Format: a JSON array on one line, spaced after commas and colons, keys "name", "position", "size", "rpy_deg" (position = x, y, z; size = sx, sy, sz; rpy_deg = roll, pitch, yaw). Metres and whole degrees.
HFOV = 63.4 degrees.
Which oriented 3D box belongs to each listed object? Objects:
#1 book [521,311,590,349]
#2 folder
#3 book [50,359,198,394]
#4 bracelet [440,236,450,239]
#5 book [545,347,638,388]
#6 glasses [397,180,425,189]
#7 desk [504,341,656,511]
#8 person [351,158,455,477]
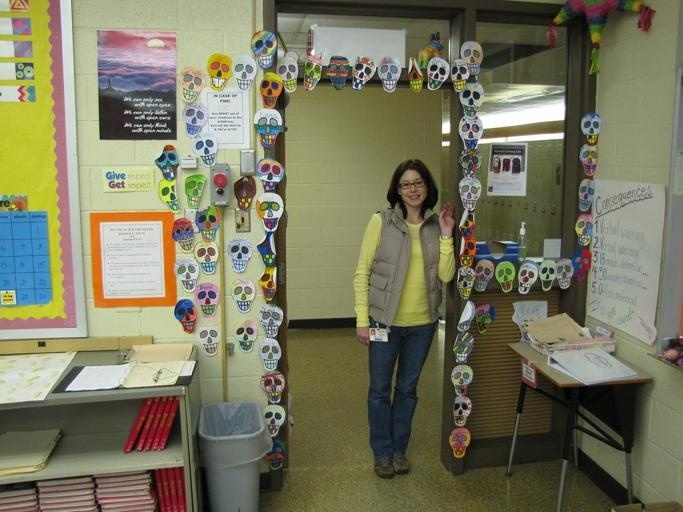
[{"name": "book", "position": [1.265, 0.449, 3.260], "size": [0.221, 0.084, 0.216], "rpy_deg": [-10, 26, -17]}, {"name": "folder", "position": [1.365, 0.596, 2.986], "size": [0.227, 0.063, 0.223], "rpy_deg": [-3, 13, -10]}, {"name": "book", "position": [-1.032, 0.599, 2.731], "size": [0.579, 0.041, 0.256], "rpy_deg": [-4, 13, -12]}, {"name": "bracelet", "position": [0.626, -0.103, 3.280], "size": [0.059, 0.022, 0.027], "rpy_deg": [1, 13, 8]}, {"name": "book", "position": [1.363, 0.597, 3.017], "size": [0.402, 0.076, 0.330], "rpy_deg": [-4, 13, -12]}, {"name": "glasses", "position": [0.431, -0.426, 3.317], "size": [0.143, 0.053, 0.045], "rpy_deg": [0, 12, 4]}, {"name": "desk", "position": [1.352, 0.984, 3.223], "size": [0.591, 0.860, 0.783], "rpy_deg": [-3, 13, -10]}, {"name": "person", "position": [0.387, 0.386, 3.428], "size": [0.589, 1.915, 0.365], "rpy_deg": [-6, 13, -23]}]
